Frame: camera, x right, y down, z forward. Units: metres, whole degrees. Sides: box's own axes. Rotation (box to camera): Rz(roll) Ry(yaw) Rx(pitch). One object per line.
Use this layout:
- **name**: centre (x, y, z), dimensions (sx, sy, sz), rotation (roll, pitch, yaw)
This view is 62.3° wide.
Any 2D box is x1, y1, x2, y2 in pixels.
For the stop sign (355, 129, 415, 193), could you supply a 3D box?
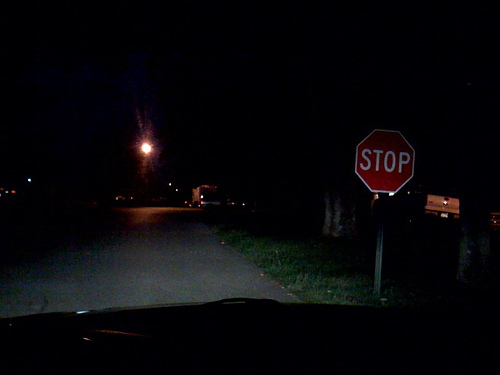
- **stop sign**: centre (2.540, -0.495, 7.810), dimensions (1.118, 1.197, 0.211), rotation (-1, 1, -9)
